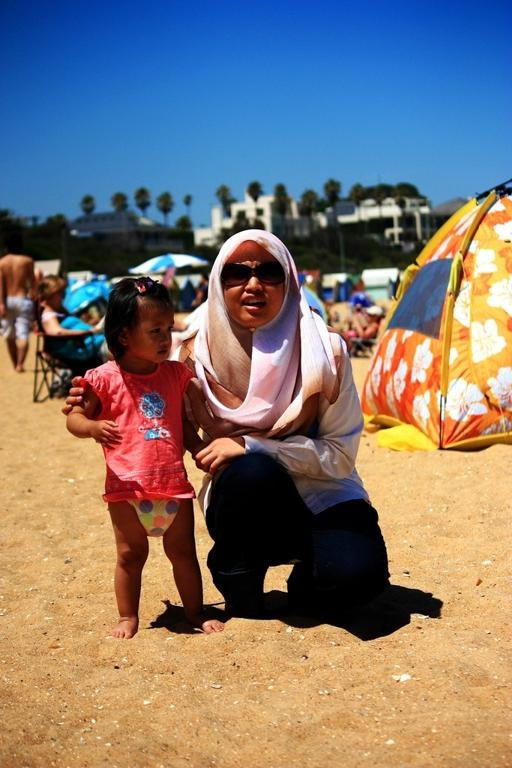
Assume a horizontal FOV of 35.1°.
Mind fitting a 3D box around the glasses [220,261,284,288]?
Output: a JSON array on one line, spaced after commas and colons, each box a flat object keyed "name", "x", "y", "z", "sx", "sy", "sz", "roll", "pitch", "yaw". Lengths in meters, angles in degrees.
[{"name": "glasses", "x": -0.010, "y": -0.383, "z": 2.876, "sx": 0.133, "sy": 0.048, "sz": 0.122, "roll": -1, "pitch": -23, "yaw": 0}]

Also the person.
[{"name": "person", "x": 0.085, "y": 0.148, "z": 2.903, "sx": 0.704, "sy": 1.399, "sz": 0.446, "roll": -3, "pitch": 8, "yaw": -5}]
